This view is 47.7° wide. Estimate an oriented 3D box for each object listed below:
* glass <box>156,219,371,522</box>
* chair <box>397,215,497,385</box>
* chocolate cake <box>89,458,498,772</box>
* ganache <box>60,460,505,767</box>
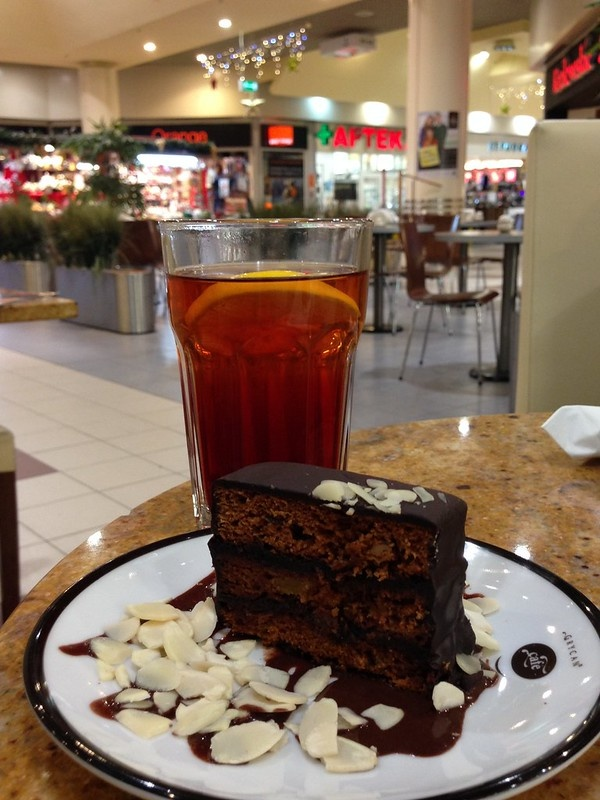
[{"bbox_3d":[-0.033,-0.035,0.624,0.180,0.237,0.169,-7,13,-21],"label":"glass"},{"bbox_3d":[0.915,-0.673,4.333,0.534,0.786,0.488,1,15,9],"label":"chair"},{"bbox_3d":[0.006,0.098,0.340,0.159,0.052,0.134,-1,17,7],"label":"chocolate cake"},{"bbox_3d":[0.004,0.087,0.343,0.161,0.052,0.137,-5,17,-29],"label":"ganache"}]
